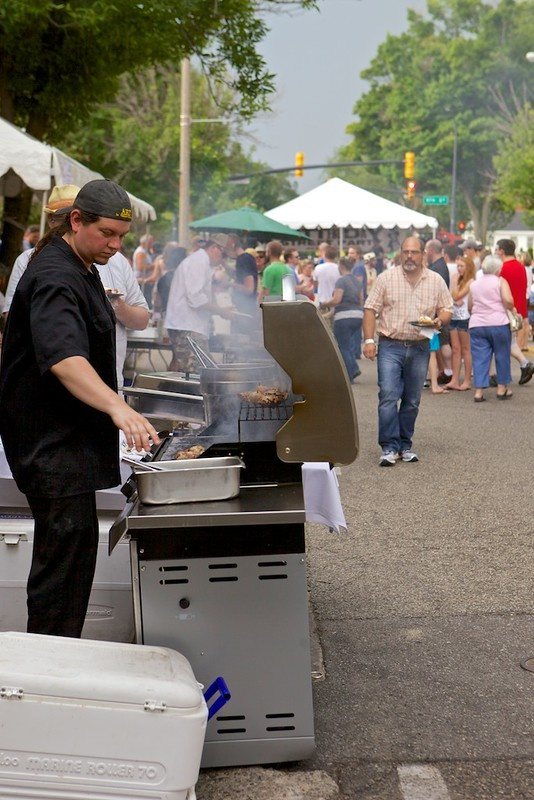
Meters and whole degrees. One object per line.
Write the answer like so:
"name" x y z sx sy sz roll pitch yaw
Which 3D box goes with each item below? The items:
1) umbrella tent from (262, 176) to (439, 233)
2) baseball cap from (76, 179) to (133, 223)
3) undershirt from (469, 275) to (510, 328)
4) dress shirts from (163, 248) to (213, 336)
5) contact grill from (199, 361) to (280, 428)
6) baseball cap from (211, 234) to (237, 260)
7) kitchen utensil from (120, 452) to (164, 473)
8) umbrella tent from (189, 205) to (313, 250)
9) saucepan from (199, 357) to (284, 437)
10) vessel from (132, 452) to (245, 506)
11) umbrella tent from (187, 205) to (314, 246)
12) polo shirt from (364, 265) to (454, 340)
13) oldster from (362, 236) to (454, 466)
"umbrella tent" 1.526 -4.288 18.279 4.842 1.051 4.687 7 16 27
"baseball cap" -0.495 -0.594 2.504 0.165 0.089 0.112 16 20 37
"undershirt" 2.892 -1.254 10.726 0.513 0.652 0.378 1 0 38
"dress shirts" -0.756 -1.038 8.277 0.449 0.855 0.783 4 10 -18
"contact grill" -0.101 -0.029 3.482 0.296 0.213 0.273 -2 3 -6
"baseball cap" -0.488 -1.633 8.943 0.254 0.268 0.421 0 7 -8
"kitchen utensil" -0.430 0.219 2.874 0.086 0.066 0.295 -4 -7 18
"umbrella tent" -0.494 -3.001 14.556 1.787 0.421 1.763 0 3 -32
"saucepan" -0.090 -0.011 3.289 0.309 0.232 0.321 3 7 31
"vessel" -0.246 0.259 2.585 0.238 0.079 0.180 -4 5 -6
"umbrella tent" -0.593 -3.007 14.209 1.741 0.409 1.730 4 5 26
"polo shirt" 1.229 -0.811 7.074 0.811 0.627 0.355 2 2 -1
"oldster" 1.206 -0.423 7.032 0.741 1.878 0.650 -1 9 -10
